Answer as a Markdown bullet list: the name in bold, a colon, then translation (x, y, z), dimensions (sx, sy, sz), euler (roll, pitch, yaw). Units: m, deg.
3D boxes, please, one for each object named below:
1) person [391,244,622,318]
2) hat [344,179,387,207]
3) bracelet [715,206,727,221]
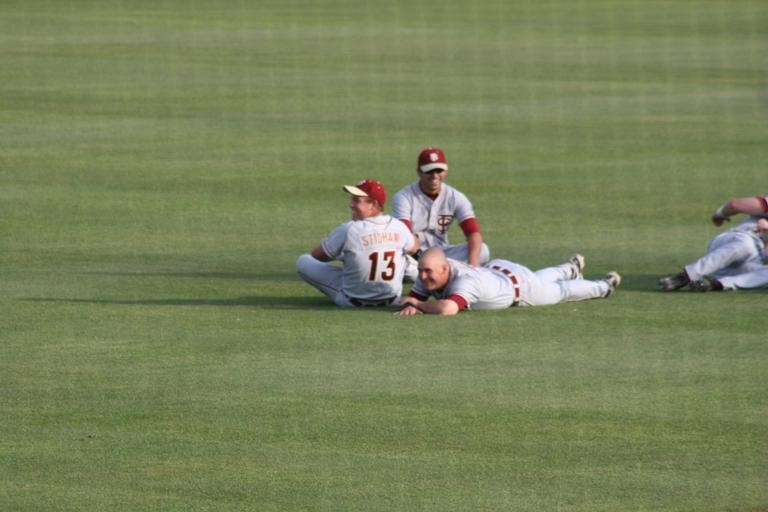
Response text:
- **person**: translation (2.373, 0.580, 38.763), dimensions (4.320, 0.962, 1.494), euler (-5, 0, -21)
- **hat**: translation (-0.403, -1.287, 38.390), dimensions (0.810, 0.353, 0.493), euler (18, 5, -14)
- **bracelet**: translation (6.686, -0.849, 39.475), dimensions (0.157, 0.188, 0.355), euler (-17, -2, -7)
